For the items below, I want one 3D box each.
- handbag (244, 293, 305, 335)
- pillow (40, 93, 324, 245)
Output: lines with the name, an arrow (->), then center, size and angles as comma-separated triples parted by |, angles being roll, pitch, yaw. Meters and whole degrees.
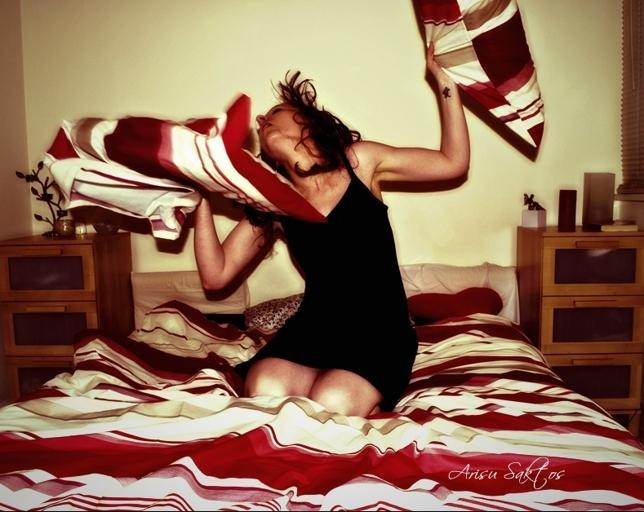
handbag -> -0.204, 0.237, 2.470 | 0.231, 0.072, 0.171 | -24, 31, -3
pillow -> -0.411, -0.219, 1.764 | 0.763, 0.403, 0.220 | -15, -35, 4
